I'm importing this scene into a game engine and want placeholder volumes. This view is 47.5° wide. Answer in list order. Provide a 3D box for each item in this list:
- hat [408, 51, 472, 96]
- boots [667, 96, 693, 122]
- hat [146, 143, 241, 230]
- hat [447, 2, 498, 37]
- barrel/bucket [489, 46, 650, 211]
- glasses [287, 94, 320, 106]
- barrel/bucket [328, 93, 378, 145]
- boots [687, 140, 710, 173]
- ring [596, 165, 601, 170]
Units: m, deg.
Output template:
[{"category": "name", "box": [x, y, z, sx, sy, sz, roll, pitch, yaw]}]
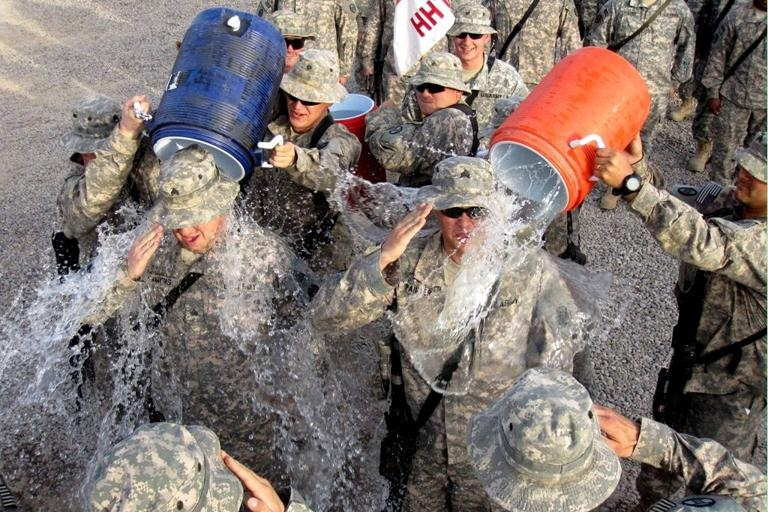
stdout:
[{"category": "hat", "box": [0.519, -1.568, 7.649, 0.339, 0.209, 0.380, 31, 10, 28]}, {"category": "boots", "box": [3.889, -1.911, 11.480, 0.328, 0.324, 0.159, -25, 75, 6]}, {"category": "hat", "box": [-1.470, -0.441, 6.682, 0.572, 0.318, 0.591, 26, 69, 18]}, {"category": "hat", "box": [0.839, -2.282, 8.391, 0.357, 0.209, 0.378, 21, 37, 29]}, {"category": "barrel/bucket", "box": [1.379, -0.976, 6.677, 1.284, 0.888, 0.872, -41, 66, -11]}, {"category": "glasses", "box": [-0.700, -1.317, 7.490, 0.273, 0.091, 0.080, 16, 30, -4]}, {"category": "barrel/bucket", "box": [-0.312, -1.455, 8.599, 0.463, 0.487, 0.536, -5, 52, 0]}, {"category": "boots", "box": [3.763, -1.174, 10.454, 0.143, 0.341, 0.296, 21, 8, 35]}, {"category": "ring", "box": [1.543, -0.638, 6.308, 0.022, 0.034, 0.011, 6, 43, 17]}]
